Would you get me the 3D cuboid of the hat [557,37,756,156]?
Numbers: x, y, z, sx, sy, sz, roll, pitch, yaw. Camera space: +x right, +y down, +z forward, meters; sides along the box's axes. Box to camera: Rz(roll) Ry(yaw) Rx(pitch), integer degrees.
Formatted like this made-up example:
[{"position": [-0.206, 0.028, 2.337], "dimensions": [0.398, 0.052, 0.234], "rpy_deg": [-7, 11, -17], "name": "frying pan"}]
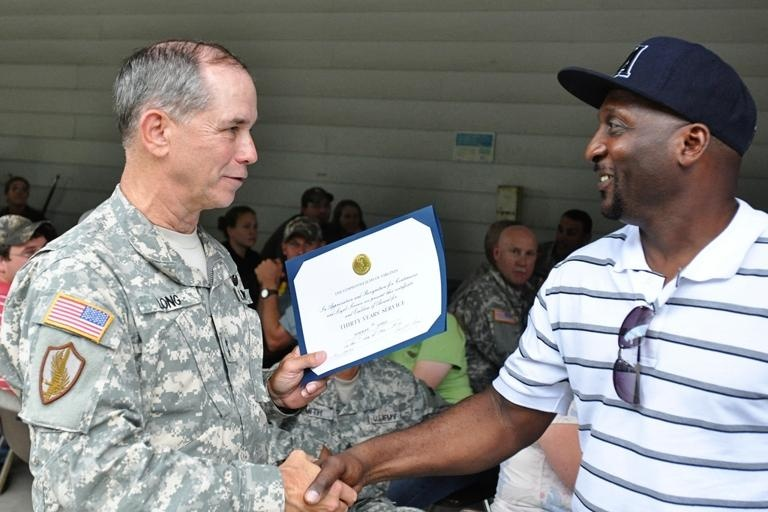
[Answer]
[{"position": [0.786, -0.463, 2.006], "dimensions": [0.506, 0.265, 0.314], "rpy_deg": [27, 8, 2], "name": "hat"}]
